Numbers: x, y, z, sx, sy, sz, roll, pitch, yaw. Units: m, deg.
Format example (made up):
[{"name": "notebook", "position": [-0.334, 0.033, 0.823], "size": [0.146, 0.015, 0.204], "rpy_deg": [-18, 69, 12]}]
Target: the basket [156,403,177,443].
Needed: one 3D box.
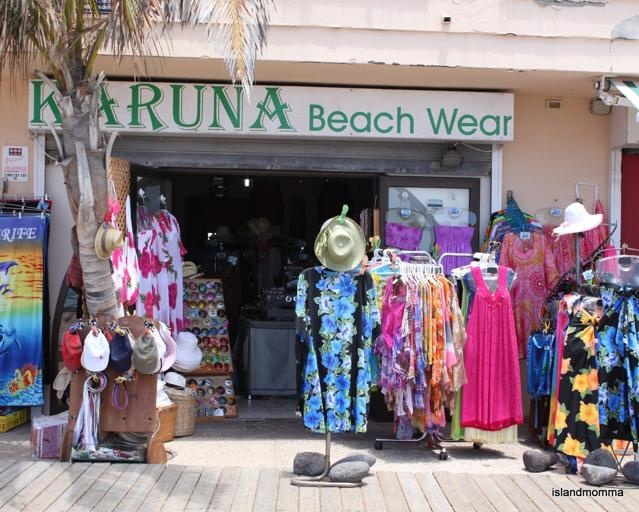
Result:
[{"name": "basket", "position": [-1.501, 1.615, 7.015], "size": [0.239, 0.309, 0.255], "rpy_deg": [2, -9, -18]}]

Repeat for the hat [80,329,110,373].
[{"name": "hat", "position": [-1.826, 0.781, 6.023], "size": [0.201, 0.343, 0.095], "rpy_deg": [-2, -5, -13]}]

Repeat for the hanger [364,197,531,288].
[{"name": "hanger", "position": [1.517, -0.213, 7.845], "size": [1.732, 0.821, 1.110], "rpy_deg": [0, 2, -20]}]

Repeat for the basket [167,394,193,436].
[{"name": "basket", "position": [-1.316, 1.590, 7.388], "size": [0.314, 0.417, 0.356], "rpy_deg": [-8, -13, 9]}]

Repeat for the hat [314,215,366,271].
[{"name": "hat", "position": [0.158, -0.081, 6.008], "size": [0.383, 0.447, 0.114], "rpy_deg": [-37, 40, -25]}]

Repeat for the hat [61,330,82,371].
[{"name": "hat", "position": [-2.070, 0.798, 6.135], "size": [0.162, 0.322, 0.149], "rpy_deg": [4, -12, -38]}]

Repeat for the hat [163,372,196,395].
[{"name": "hat", "position": [-1.428, 1.294, 7.434], "size": [0.295, 0.202, 0.412], "rpy_deg": [0, 2, -12]}]

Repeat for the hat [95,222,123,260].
[{"name": "hat", "position": [-1.744, -0.119, 6.139], "size": [0.118, 0.278, 0.254], "rpy_deg": [7, 2, 7]}]

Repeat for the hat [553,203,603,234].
[{"name": "hat", "position": [2.435, -0.336, 7.119], "size": [0.308, 0.195, 0.451], "rpy_deg": [-27, 4, 6]}]

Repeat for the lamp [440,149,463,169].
[{"name": "lamp", "position": [1.442, -1.071, 8.175], "size": [0.242, 0.207, 0.188], "rpy_deg": [1, 2, 8]}]
